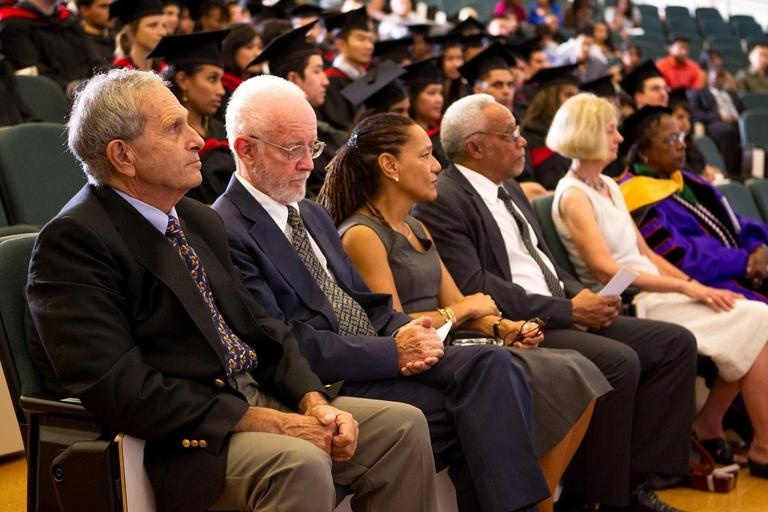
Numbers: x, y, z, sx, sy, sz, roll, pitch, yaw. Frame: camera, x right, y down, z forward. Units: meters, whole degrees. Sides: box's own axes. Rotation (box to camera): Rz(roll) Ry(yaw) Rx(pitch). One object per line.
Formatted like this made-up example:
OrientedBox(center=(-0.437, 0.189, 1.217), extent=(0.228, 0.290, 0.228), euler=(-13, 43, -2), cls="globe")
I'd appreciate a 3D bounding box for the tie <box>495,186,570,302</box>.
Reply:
OrientedBox(center=(0.836, -0.048, 4.025), extent=(0.078, 0.706, 0.103), euler=(-12, -20, -42), cls="tie")
